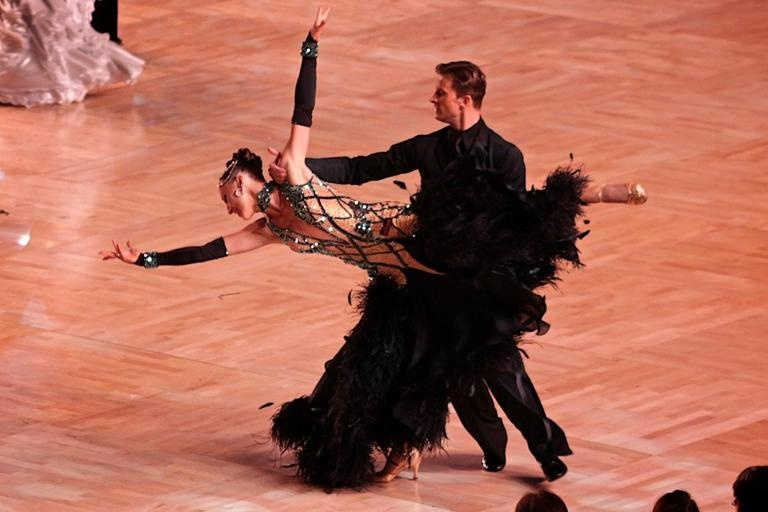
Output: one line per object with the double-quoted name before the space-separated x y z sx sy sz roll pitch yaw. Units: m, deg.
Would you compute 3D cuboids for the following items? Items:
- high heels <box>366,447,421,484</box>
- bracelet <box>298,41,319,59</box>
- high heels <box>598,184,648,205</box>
"high heels" -0.005 1.167 7.077 0.457 0.156 0.135 -2 -11 -33
"bracelet" -0.377 -1.085 6.754 0.071 0.093 0.058 5 -14 -11
"high heels" 1.256 -0.321 6.737 0.257 0.060 0.111 3 6 10
